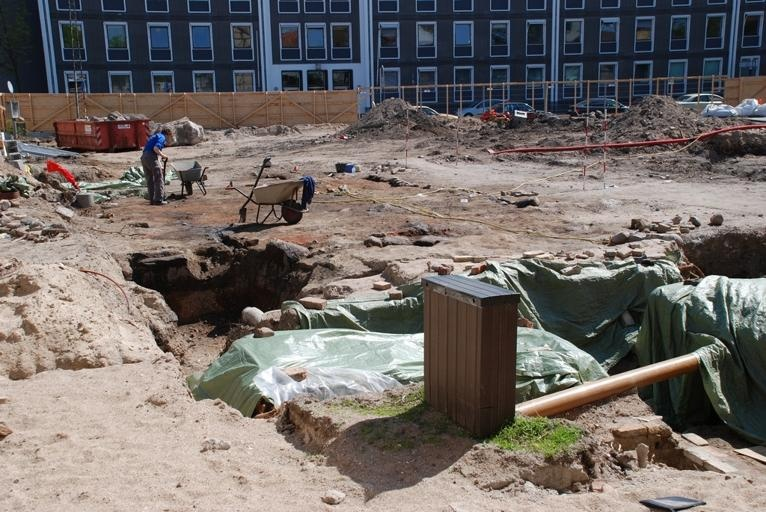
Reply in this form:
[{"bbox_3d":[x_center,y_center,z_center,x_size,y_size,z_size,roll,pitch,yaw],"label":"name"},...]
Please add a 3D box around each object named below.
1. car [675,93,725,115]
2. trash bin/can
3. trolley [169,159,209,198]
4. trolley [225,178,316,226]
[{"bbox_3d":[16.716,-8.196,32.601,2.031,1.365,7.782,4,11,24],"label":"car"},{"bbox_3d":[0.760,0.935,5.706,0.836,1.369,0.488,10,20,39],"label":"trash bin/can"},{"bbox_3d":[-5.201,-2.016,16.567,0.787,0.496,1.197,-5,-3,-21],"label":"trolley"},{"bbox_3d":[-2.541,-1.235,14.072,2.224,0.767,0.883,3,5,32],"label":"trolley"}]
